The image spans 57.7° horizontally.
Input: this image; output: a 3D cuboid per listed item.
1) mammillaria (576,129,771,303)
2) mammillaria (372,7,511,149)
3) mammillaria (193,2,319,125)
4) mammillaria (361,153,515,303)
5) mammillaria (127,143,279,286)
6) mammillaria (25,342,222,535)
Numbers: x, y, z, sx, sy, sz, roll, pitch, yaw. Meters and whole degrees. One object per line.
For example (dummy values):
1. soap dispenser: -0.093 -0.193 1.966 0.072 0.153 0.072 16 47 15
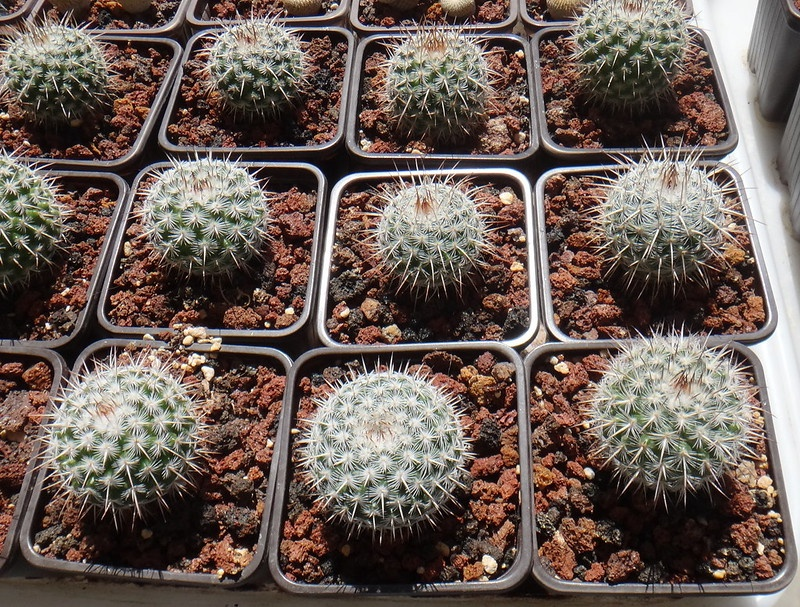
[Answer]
1. mammillaria: 1.016 -0.309 2.943 0.594 0.585 0.582 -19 89 -45
2. mammillaria: 0.163 -0.895 3.022 0.514 0.494 0.507 -3 99 -7
3. mammillaria: -0.642 -1.041 3.265 0.458 0.462 0.450 -8 36 -9
4. mammillaria: 0.179 -0.303 2.859 0.490 0.508 0.502 2 30 20
5. mammillaria: -0.761 -0.346 2.884 0.466 0.282 0.453 17 69 5
6. mammillaria: -0.925 0.425 2.684 0.593 0.593 0.597 7 91 36
